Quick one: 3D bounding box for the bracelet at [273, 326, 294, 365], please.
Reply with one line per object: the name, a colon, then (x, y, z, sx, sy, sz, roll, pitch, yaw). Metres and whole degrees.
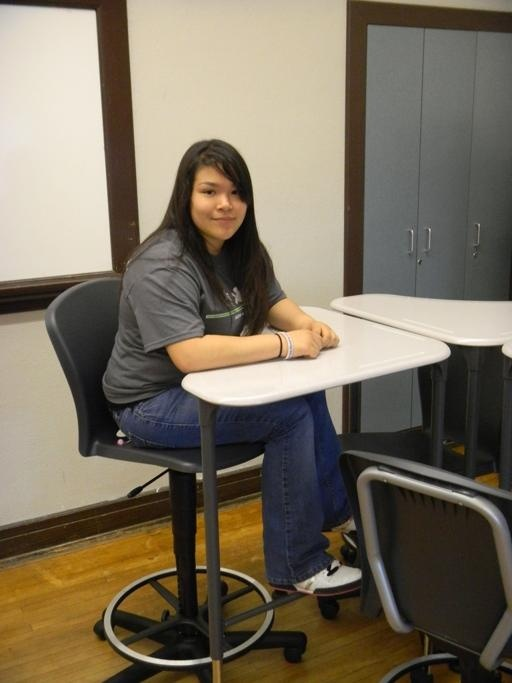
bracelet: (0.064, 0.005, 1.247, 0.040, 0.059, 0.025, -1, -2, -21)

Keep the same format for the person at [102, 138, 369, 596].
person: (-0.048, 0.059, 1.395, 0.616, 1.082, 0.447, -2, 9, 21)

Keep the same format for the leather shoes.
leather shoes: (0.145, 0.541, 1.344, 0.213, 0.097, 0.083, -4, 5, 11)
